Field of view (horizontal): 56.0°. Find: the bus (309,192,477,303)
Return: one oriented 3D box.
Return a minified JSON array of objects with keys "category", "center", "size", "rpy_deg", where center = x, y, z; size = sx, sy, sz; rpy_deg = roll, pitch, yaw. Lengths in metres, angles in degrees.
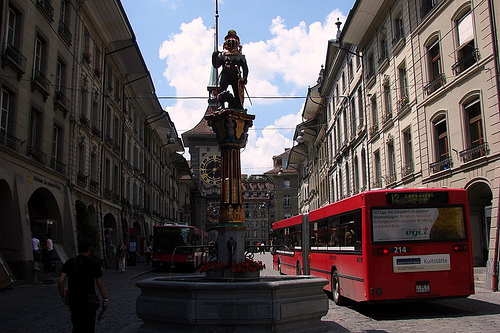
[{"category":"bus","center":[4.979,2.808,17.103],"size":[5.506,3.879,3.197],"rpy_deg":[-8,-16,27]}]

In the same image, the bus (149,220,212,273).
[{"category":"bus","center":[-5.500,6.090,38.129],"size":[3.542,4.331,13.814],"rpy_deg":[-2,-16,2]}]

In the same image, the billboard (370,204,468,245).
[{"category":"billboard","center":[5.722,2.040,16.784],"size":[3.427,1.563,1.414],"rpy_deg":[-2,-8,1]}]
